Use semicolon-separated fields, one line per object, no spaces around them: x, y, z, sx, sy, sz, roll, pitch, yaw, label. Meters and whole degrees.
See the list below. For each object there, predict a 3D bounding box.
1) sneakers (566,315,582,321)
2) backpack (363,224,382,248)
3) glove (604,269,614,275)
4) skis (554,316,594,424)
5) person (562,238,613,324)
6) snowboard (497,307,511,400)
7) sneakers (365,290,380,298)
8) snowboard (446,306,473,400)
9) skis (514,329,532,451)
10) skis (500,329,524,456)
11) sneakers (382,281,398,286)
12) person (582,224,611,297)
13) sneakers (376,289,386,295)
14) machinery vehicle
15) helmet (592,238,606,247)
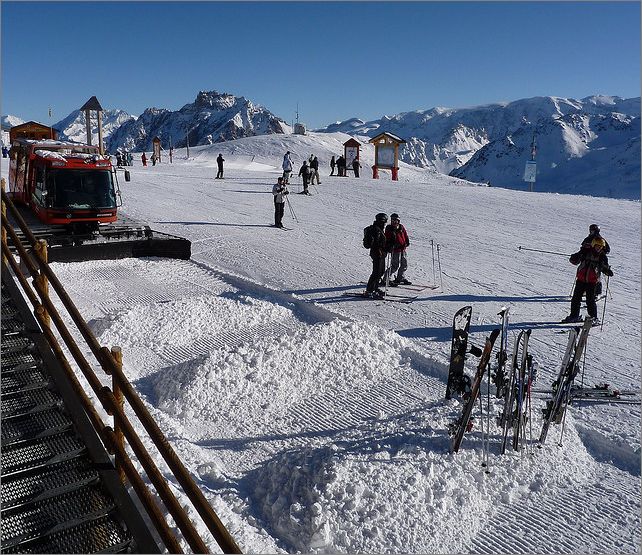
5.561;0.936;11.801;0.338;0.150;0.132;3;-2;13;sneakers
1.248;-1.050;13.506;0.515;0.612;0.412;-3;12;-11;backpack
6.328;-0.091;11.656;0.120;0.203;0.170;0;-6;-27;glove
4.069;1.572;8.548;0.257;1.739;0.289;1;27;-8;skis
5.905;0.069;11.741;0.816;1.870;0.886;9;17;29;person
2.772;1.204;8.087;0.149;1.556;0.205;0;8;-5;snowboard
1.327;0.466;13.575;0.267;0.127;0.208;3;6;11;sneakers
2.001;1.111;7.710;0.282;0.245;1.708;5;43;15;snowboard
2.744;1.631;7.256;0.180;1.696;0.218;2;10;8;skis
2.618;1.547;7.088;0.254;1.701;0.217;1;0;20;skis
1.958;0.203;14.704;0.176;0.077;0.185;-10;11;-27;sneakers
6.366;-0.465;12.254;0.500;1.780;0.690;-31;29;-26;person
1.528;0.419;13.670;0.137;0.128;0.157;-1;7;16;sneakers
-7.523;-2.308;16.060;5.325;3.429;3.772;15;21;40;machinery vehicle
6.053;-0.721;11.585;0.160;0.210;0.205;16;-15;18;helmet
